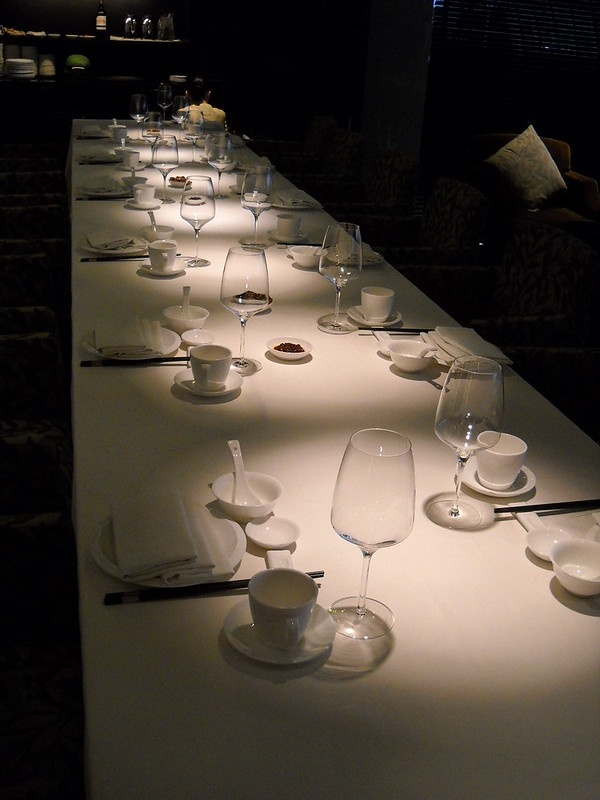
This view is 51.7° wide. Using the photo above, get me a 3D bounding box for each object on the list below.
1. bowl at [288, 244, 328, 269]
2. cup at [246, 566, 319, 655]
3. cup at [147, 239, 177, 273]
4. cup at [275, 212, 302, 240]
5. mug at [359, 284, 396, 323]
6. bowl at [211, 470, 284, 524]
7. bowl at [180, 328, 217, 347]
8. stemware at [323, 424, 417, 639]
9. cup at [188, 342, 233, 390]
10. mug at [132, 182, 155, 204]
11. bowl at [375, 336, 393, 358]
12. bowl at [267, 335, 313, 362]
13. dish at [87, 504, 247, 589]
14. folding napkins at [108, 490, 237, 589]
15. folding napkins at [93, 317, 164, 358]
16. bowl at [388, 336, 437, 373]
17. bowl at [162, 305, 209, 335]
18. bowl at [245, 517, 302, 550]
[{"bbox_3d":[0.019,-0.527,2.259,0.115,0.055,0.115,3,25,-1],"label":"bowl"},{"bbox_3d":[-0.018,0.227,0.652,0.073,0.059,0.089,-1,19,-16],"label":"cup"},{"bbox_3d":[-0.456,-0.481,2.089,0.092,0.096,0.142,1,30,-8],"label":"cup"},{"bbox_3d":[-0.043,-0.708,2.520,0.099,0.090,0.123,-7,12,-23],"label":"cup"},{"bbox_3d":[0.220,-0.270,1.754,0.093,0.078,0.106,0,24,-2],"label":"mug"},{"bbox_3d":[-0.084,0.164,0.932,0.079,0.031,0.081,10,3,-1],"label":"bowl"},{"bbox_3d":[-0.254,-0.157,1.549,0.064,0.025,0.064,3,32,-2],"label":"bowl"},{"bbox_3d":[0.081,0.145,0.714,0.082,0.247,0.188,7,16,8],"label":"stemware"},{"bbox_3d":[-0.190,-0.068,1.288,0.080,0.072,0.098,2,33,-4],"label":"cup"},{"bbox_3d":[-0.713,-0.948,2.847,0.091,0.095,0.141,5,33,-2],"label":"mug"},{"bbox_3d":[0.212,-0.140,1.612,0.047,0.019,0.047,6,35,-4],"label":"bowl"},{"bbox_3d":[-0.023,-0.125,1.533,0.075,0.022,0.074,5,29,-3],"label":"bowl"},{"bbox_3d":[-0.162,0.187,0.797,0.121,0.029,0.120,1,25,-11],"label":"dish"},{"bbox_3d":[-0.154,0.171,0.792,0.113,0.030,0.113,1,31,-26],"label":"folding napkins"},{"bbox_3d":[-0.412,-0.142,1.490,0.128,0.042,0.128,-6,32,-13],"label":"folding napkins"},{"bbox_3d":[0.275,-0.112,1.527,0.074,0.050,0.112,1,33,-5],"label":"bowl"},{"bbox_3d":[-0.299,-0.219,1.635,0.094,0.045,0.094,4,34,-3],"label":"bowl"},{"bbox_3d":[-0.039,0.190,0.880,0.046,0.012,0.047,7,17,-2],"label":"bowl"}]
